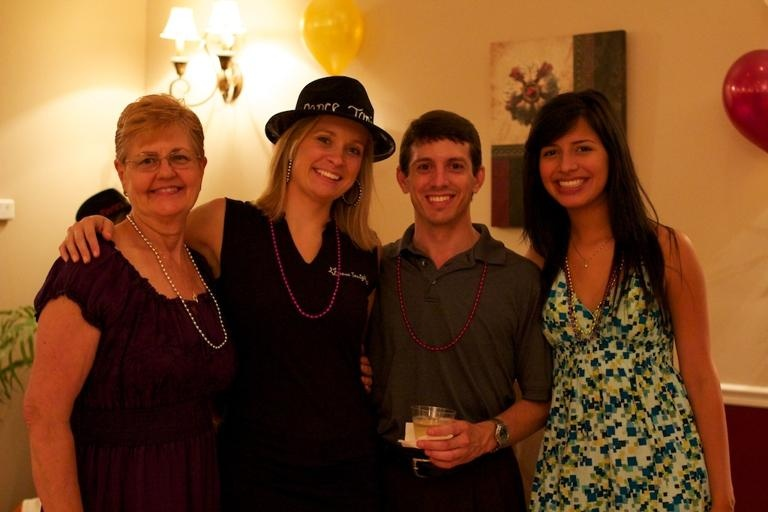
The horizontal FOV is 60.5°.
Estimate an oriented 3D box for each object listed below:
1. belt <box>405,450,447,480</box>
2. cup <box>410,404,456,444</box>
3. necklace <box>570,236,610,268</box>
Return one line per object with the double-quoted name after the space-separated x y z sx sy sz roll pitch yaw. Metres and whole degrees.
0.160 0.846 2.706 0.096 0.131 0.107 4 -1 -2 "belt"
0.195 0.662 2.537 0.196 0.158 0.205 4 -13 1 "cup"
0.851 -0.025 2.737 0.114 0.158 0.047 2 13 10 "necklace"
